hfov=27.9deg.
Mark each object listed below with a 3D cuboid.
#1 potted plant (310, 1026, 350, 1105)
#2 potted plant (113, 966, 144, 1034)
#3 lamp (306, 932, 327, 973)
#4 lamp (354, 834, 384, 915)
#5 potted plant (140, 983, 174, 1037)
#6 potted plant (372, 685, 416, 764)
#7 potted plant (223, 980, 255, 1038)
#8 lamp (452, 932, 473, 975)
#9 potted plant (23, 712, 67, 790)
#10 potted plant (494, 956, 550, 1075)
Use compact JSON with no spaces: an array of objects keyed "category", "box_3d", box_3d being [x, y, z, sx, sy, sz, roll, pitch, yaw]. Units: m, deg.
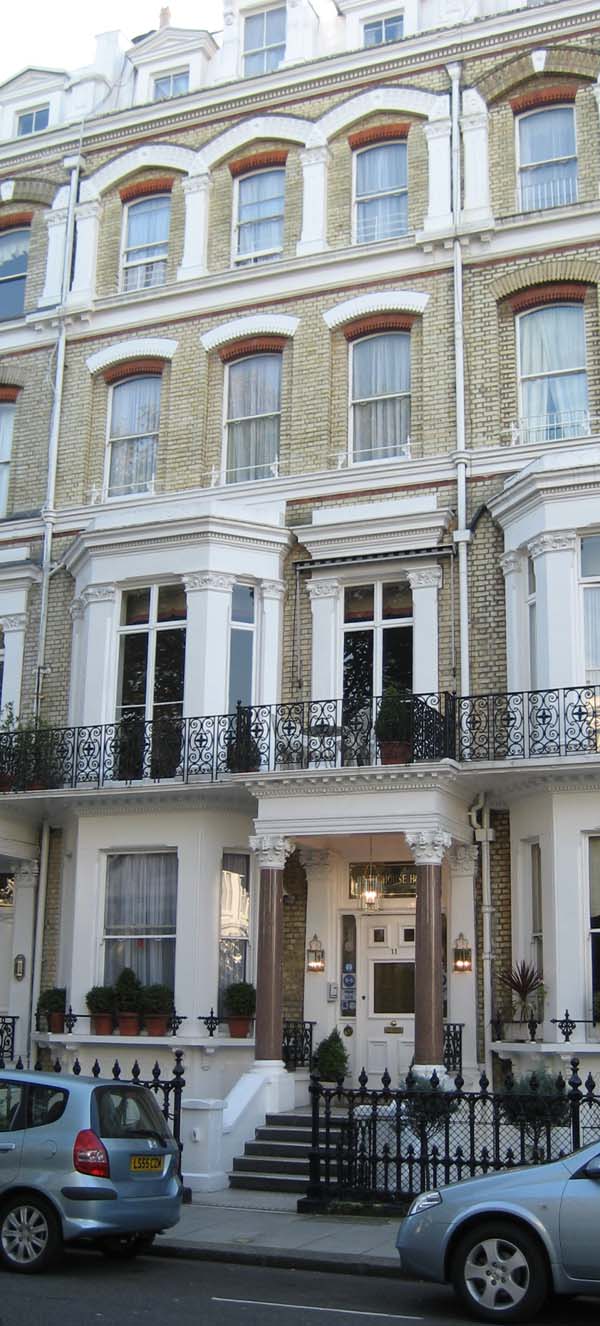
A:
[{"category":"potted plant","box_3d":[0.362,4.892,14.745,0.438,0.643,1.166,0,-8,2]},{"category":"potted plant","box_3d":[-2.200,4.357,15.461,0.428,0.998,0.502,2,-28,-5]},{"category":"lamp","box_3d":[0.208,3.824,15.865,0.253,0.482,0.105,-1,-7,12]},{"category":"lamp","box_3d":[0.948,2.914,16.270,0.280,0.795,0.257,0,-7,3]},{"category":"potted plant","box_3d":[-1.800,4.381,15.241,0.434,0.695,0.514,2,-21,-5]},{"category":"potted plant","box_3d":[1.100,0.737,14.103,0.437,0.925,0.652,0,-7,4]},{"category":"potted plant","box_3d":[-0.756,4.361,15.232,0.465,0.755,0.497,2,-28,-2]},{"category":"lamp","box_3d":[1.984,3.560,14.776,0.221,0.447,0.109,-1,-7,10]},{"category":"potted plant","box_3d":[-3.528,1.338,16.837,0.523,0.890,0.730,3,-8,-14]},{"category":"potted plant","box_3d":[2.562,3.979,14.139,0.384,0.926,0.927,2,-8,-14]}]
